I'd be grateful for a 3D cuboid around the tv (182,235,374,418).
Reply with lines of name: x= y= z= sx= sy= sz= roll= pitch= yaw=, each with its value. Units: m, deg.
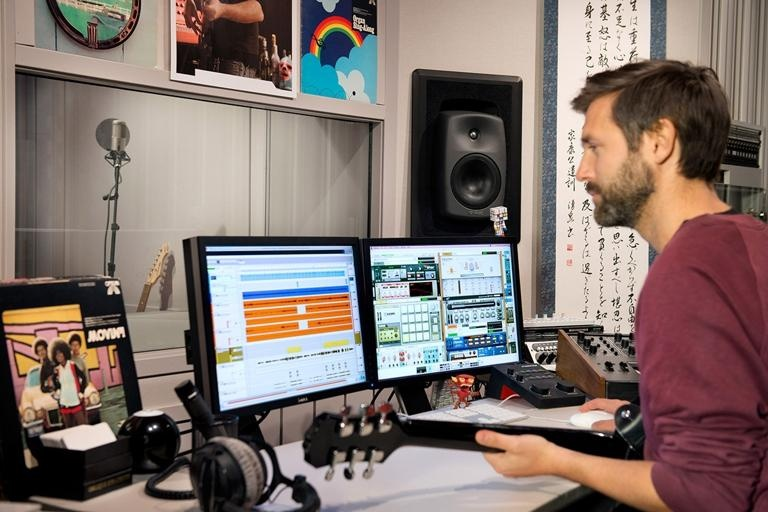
tv: x=-0.336 y=0.211 z=1.786 sx=0.558 sy=0.492 sz=0.078 roll=-4 pitch=-5 yaw=-30
